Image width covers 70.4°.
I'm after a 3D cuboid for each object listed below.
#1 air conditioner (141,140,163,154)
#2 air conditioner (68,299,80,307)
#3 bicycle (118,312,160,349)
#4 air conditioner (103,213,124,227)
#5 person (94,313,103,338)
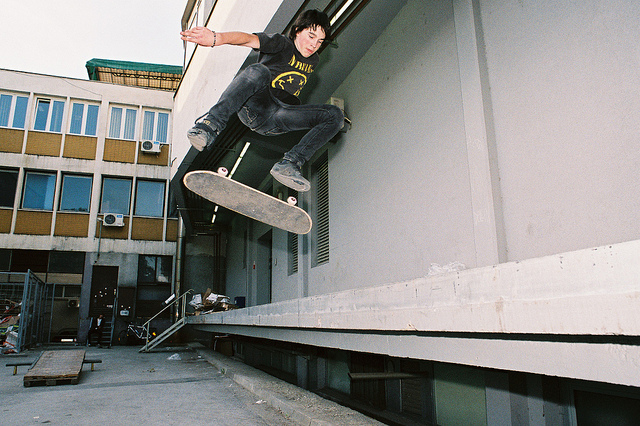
[{"bbox_3d":[-6.096,-2.275,16.254,0.760,0.563,0.408,7,-18,-38],"label":"air conditioner"},{"bbox_3d":[-8.162,2.944,14.945,0.391,0.244,0.081,0,-10,-4],"label":"air conditioner"},{"bbox_3d":[-5.935,3.788,14.729,1.478,0.940,0.961,7,-19,-25],"label":"bicycle"},{"bbox_3d":[-7.051,0.234,15.378,0.553,0.407,0.375,5,1,-3],"label":"air conditioner"},{"bbox_3d":[-6.878,3.489,14.033,0.198,0.635,0.940,4,-11,-25],"label":"person"}]
